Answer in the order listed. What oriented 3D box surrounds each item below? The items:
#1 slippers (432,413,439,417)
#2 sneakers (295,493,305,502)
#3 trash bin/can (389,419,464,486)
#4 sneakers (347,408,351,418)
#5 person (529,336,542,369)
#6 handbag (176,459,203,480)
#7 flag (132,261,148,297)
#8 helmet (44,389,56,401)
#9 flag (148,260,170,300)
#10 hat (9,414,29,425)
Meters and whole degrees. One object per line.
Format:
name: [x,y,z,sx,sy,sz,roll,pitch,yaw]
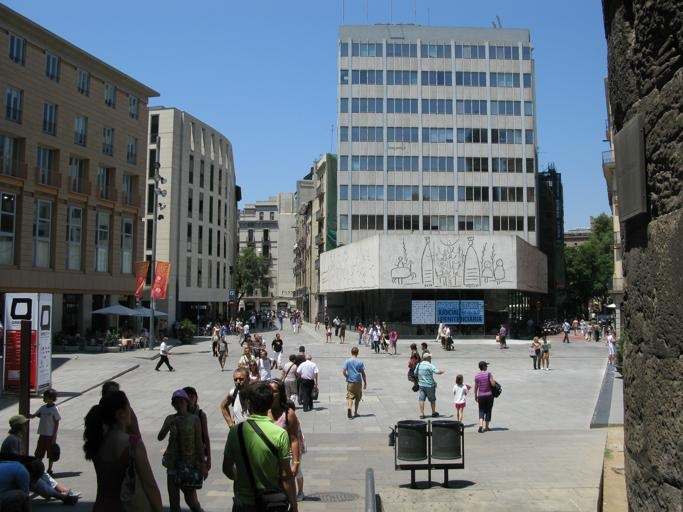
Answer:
slippers: [2.634,4.426,18.625,0.087,0.126,0.282,-1,-2,30]
sneakers: [-0.669,3.974,10.989,0.096,0.115,0.260,-1,-7,-3]
trash bin/can: [1.523,3.497,11.774,1.021,1.087,0.438,1,-9,-6]
sneakers: [0.231,4.333,18.367,0.113,0.244,0.286,-1,-7,0]
person: [9.124,4.511,31.174,0.532,1.535,3.088,-3,-7,16]
handbag: [-2.058,2.867,9.061,0.335,0.303,0.217,1,-11,-6]
flag: [-13.839,1.500,45.736,0.438,4.024,2.762,1,1,-30]
helmet: [-5.262,2.509,12.068,0.196,0.343,0.220,6,-7,-32]
flag: [-11.370,1.446,41.909,1.059,2.557,2.571,0,-7,-17]
hat: [-4.976,2.529,10.333,0.180,0.120,0.264,-2,0,26]
